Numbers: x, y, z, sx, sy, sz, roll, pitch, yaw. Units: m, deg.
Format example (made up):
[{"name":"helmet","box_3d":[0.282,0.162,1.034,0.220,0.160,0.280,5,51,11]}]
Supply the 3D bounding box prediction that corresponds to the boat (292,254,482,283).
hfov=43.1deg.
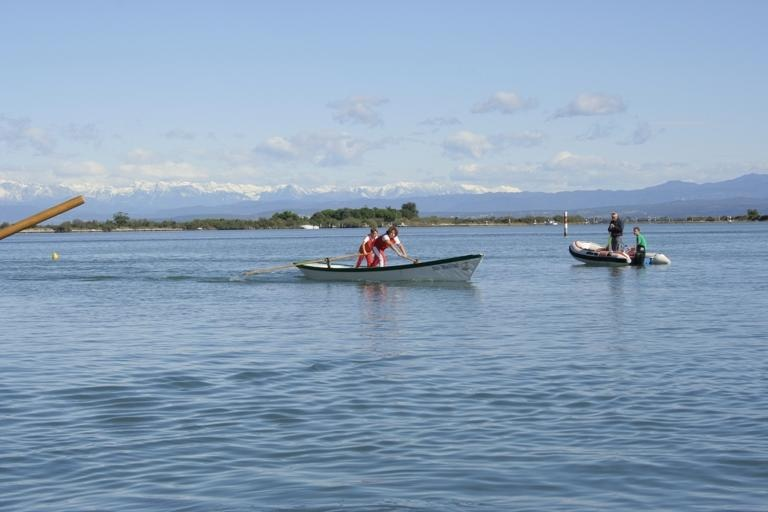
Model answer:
[{"name":"boat","box_3d":[0.301,0.622,47.495,8.898,1.323,2.176,0,4,28]}]
